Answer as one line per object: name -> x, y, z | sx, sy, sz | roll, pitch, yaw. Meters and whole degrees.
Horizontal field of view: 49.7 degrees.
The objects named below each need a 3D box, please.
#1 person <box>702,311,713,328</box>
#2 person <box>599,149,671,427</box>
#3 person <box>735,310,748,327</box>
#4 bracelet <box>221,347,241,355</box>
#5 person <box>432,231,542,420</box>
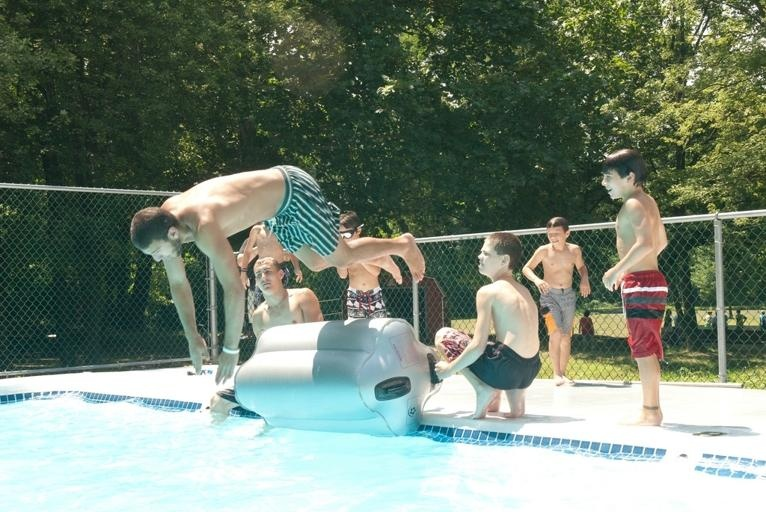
person -> 7.625, 1.514, 19.255 | 0.187, 0.391, 0.883 | -4, -6, 20
person -> 3.116, 0.385, 10.118 | 0.714, 3.363, 0.529 | -3, -5, 18
person -> 8.399, 1.477, 19.335 | 0.202, 0.437, 1.611 | -4, -6, 23
bracelet -> -1.764, 1.113, 9.600 | 0.197, 0.094, 0.139 | 0, -6, -25
person -> 1.389, 0.857, 10.339 | 1.169, 2.349, 0.540 | -2, -5, 1
